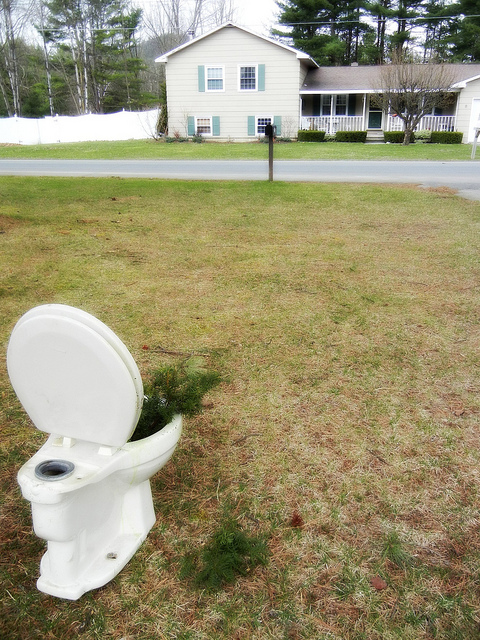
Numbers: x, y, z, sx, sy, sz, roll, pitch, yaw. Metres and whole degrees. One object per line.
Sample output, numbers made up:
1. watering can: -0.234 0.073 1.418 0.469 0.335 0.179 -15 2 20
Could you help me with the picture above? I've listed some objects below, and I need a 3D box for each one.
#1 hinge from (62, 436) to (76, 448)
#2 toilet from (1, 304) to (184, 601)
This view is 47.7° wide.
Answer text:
1. hinge: -0.664 0.469 2.095 0.055 0.039 0.039 4 -5 11
2. toilet: -0.531 0.448 2.044 0.593 1.081 0.456 -9 22 -23
